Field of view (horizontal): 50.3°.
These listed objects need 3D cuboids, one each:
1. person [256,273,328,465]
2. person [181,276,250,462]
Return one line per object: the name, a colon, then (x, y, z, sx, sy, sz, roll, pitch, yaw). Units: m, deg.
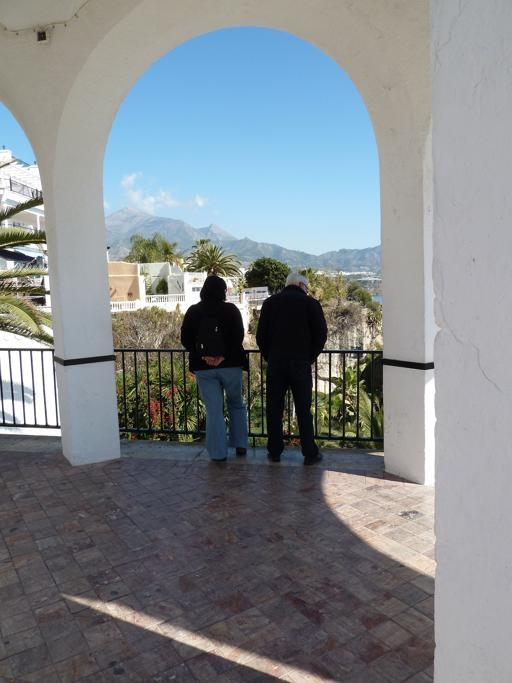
person: (0.305, 0.240, 4.874, 0.628, 1.690, 0.342, 0, 4, 9)
person: (-0.367, 0.241, 5.097, 0.564, 1.758, 0.559, -3, 15, -6)
